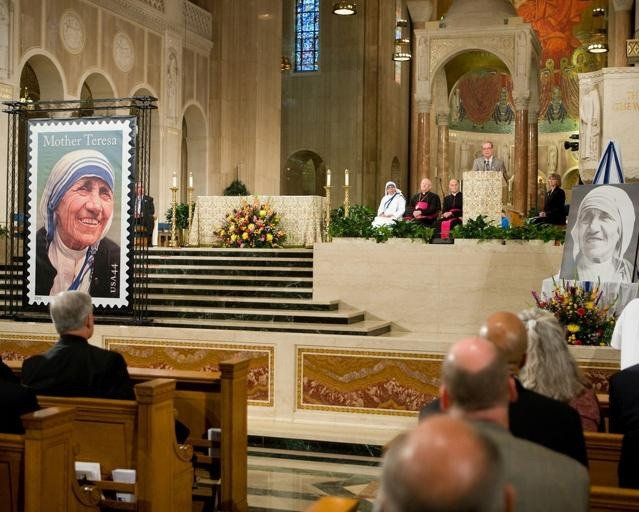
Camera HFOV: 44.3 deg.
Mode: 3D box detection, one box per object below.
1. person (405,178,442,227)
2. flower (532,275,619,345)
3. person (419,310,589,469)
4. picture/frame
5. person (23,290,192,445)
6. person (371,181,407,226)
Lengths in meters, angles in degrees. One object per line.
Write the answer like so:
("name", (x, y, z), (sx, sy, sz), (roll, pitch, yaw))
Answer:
("person", (1.854, -0.919, 14.122), (0.640, 1.037, 0.568), (3, -5, 17))
("flower", (2.566, 0.639, 8.018), (0.843, 0.738, 0.890), (7, -25, 17))
("person", (0.901, 0.739, 3.852), (0.844, 0.887, 0.477), (1, -3, 25))
("picture/frame", (-2.679, -0.473, 8.923), (1.294, 2.231, 0.152), (-1, 0, 11))
("person", (-1.583, 0.915, 5.486), (1.040, 1.329, 0.754), (-4, 2, 7))
("person", (1.196, -0.884, 13.564), (0.517, 0.832, 0.593), (-4, -11, 36))
